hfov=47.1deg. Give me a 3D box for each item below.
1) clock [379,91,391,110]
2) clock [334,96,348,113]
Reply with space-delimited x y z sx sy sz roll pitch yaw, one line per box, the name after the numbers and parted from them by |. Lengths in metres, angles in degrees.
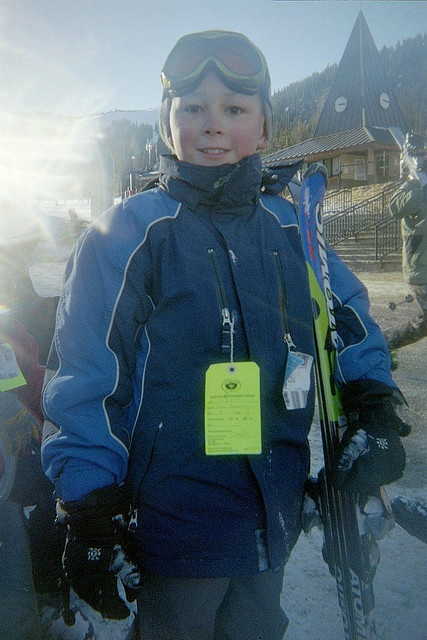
7.654 -9.776 21.788 0.621 0.762 0.106 -5 12 21 | clock
5.857 -9.898 22.638 0.630 0.639 0.626 7 -15 -14 | clock
